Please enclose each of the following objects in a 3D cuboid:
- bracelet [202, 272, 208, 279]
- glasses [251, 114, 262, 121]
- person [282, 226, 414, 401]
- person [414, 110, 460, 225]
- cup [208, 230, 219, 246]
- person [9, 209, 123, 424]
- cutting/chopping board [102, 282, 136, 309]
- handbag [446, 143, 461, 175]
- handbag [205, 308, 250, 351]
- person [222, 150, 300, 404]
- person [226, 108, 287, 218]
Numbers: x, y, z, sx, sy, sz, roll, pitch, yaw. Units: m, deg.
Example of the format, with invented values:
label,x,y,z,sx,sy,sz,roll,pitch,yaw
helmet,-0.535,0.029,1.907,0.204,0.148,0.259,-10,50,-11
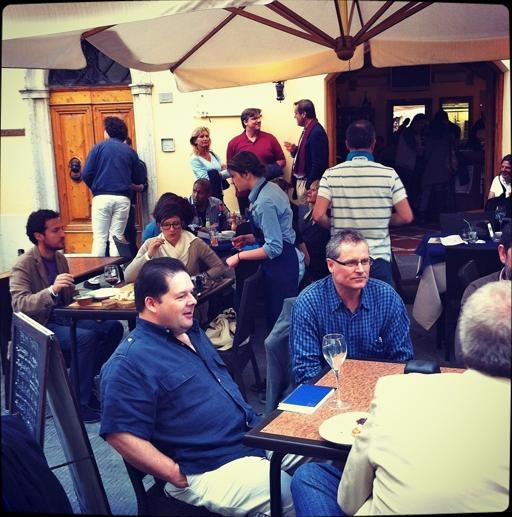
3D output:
label,x,y,z,sx,sy,sz,roll,pitch,yaw
bracelet,-0.477,0.159,4.203,0.042,0.059,0.056,-6,12,-3
glasses,0.014,-2.284,7.562,0.076,0.142,0.215,1,9,30
person,0.533,0.387,2.572,0.687,1.019,0.550,-1,5,1
person,4.181,-2.157,10.653,0.868,2.573,0.870,3,36,20
cup,-0.502,-0.233,5.331,0.137,0.207,0.149,-1,-8,0
person,-1.728,0.453,4.045,0.847,1.662,0.790,2,6,17
cutting/chopping board,-1.118,0.286,3.814,0.172,0.058,0.297,1,11,-2
handbag,4.509,-2.228,10.445,0.161,0.626,0.718,1,9,30
handbag,-0.284,0.579,3.746,0.240,0.110,0.298,-28,16,-19
person,0.097,0.042,4.280,0.560,2.051,0.562,2,26,15
person,0.019,-1.325,7.707,0.866,2.316,0.742,-4,6,3
